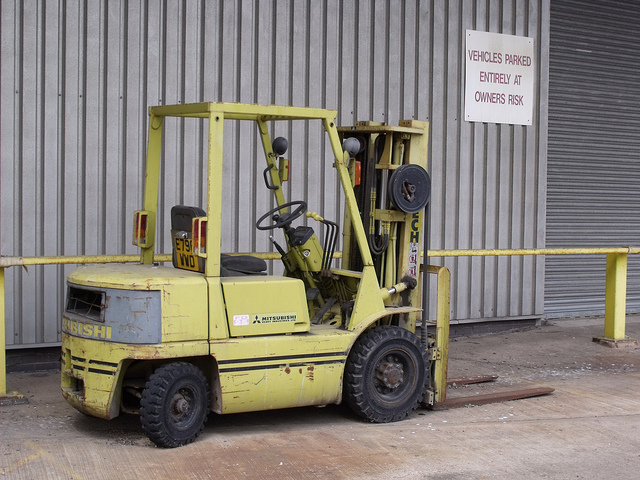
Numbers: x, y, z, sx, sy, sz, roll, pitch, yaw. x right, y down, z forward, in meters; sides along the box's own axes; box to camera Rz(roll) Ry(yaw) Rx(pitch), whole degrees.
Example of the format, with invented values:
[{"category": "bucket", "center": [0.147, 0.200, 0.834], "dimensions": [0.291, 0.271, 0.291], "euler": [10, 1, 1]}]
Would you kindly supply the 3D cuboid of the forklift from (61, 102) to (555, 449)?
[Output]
[{"category": "forklift", "center": [-0.527, 0.348, 9.124], "dimensions": [3.709, 4.970, 5.133], "euler": [1, 10, -31]}]
